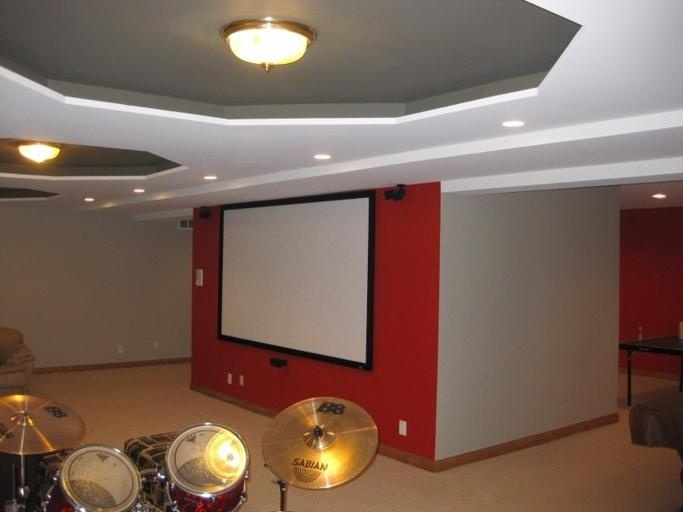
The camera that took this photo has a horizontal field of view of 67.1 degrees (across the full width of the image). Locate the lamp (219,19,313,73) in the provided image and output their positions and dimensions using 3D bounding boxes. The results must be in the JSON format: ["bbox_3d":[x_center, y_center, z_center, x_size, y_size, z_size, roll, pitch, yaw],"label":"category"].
[{"bbox_3d":[-0.397,-1.085,2.630,0.286,0.132,0.294,-1,1,39],"label":"lamp"}]

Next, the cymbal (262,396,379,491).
[{"bbox_3d":[-0.132,1.070,2.998,0.661,0.363,0.444,0,2,4],"label":"cymbal"}]
